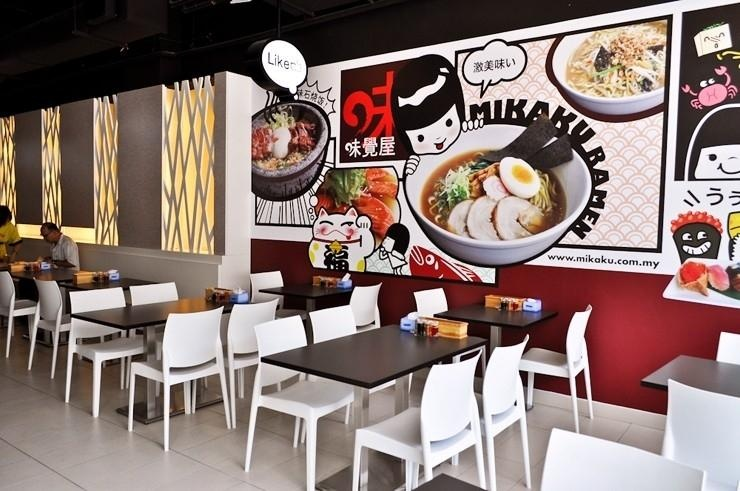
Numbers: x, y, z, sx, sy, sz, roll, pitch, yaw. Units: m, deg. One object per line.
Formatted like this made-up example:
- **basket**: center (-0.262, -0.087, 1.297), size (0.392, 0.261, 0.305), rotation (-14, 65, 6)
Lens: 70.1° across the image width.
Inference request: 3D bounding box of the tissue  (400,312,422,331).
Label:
- **tissue **: center (0.354, 0.636, 4.401), size (0.156, 0.171, 0.118), rotation (4, 3, 36)

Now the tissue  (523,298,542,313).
- **tissue **: center (1.522, 0.561, 4.964), size (0.129, 0.120, 0.132), rotation (-1, -1, 26)

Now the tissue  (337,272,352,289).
- **tissue **: center (-0.248, 0.415, 5.928), size (0.107, 0.192, 0.185), rotation (-2, -5, 32)

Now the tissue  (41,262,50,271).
- **tissue **: center (-4.027, 0.266, 6.552), size (0.079, 0.105, 0.107), rotation (1, 3, 31)

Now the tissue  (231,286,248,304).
- **tissue **: center (-1.332, 0.510, 5.351), size (0.124, 0.127, 0.124), rotation (5, 7, 44)
